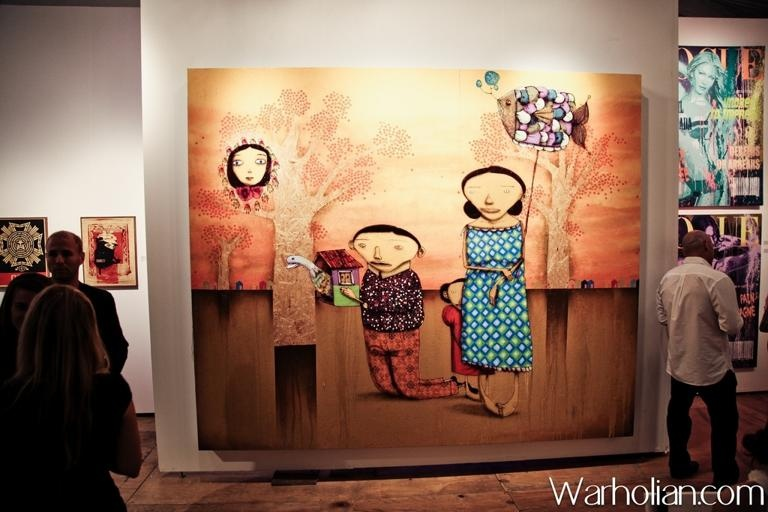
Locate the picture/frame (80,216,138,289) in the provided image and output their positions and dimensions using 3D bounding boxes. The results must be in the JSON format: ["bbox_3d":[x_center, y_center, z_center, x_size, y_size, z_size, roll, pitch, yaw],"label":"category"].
[{"bbox_3d":[-2.981,-0.063,6.950,0.794,1.073,0.054,0,7,0],"label":"picture/frame"}]
